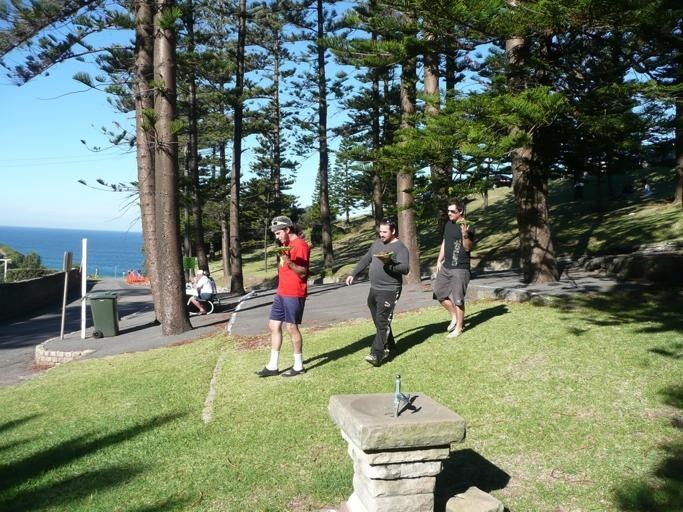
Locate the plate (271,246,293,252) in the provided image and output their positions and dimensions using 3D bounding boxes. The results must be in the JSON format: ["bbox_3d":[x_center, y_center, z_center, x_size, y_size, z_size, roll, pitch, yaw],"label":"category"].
[{"bbox_3d":[-0.955,-0.114,9.186,0.272,0.087,0.441,-5,3,-6],"label":"plate"}]

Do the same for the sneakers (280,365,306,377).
[{"bbox_3d":[-0.808,1.918,9.436,0.319,0.116,0.167,1,-5,-4],"label":"sneakers"}]

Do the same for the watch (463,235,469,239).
[{"bbox_3d":[2.146,-0.335,9.900,0.054,0.057,0.018,-4,-3,28],"label":"watch"}]

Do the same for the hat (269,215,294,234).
[{"bbox_3d":[-1.035,-0.537,9.435,0.318,0.168,0.248,1,8,11],"label":"hat"}]

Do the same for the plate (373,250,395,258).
[{"bbox_3d":[0.673,-0.017,9.102,0.305,0.097,0.243,-5,3,1],"label":"plate"}]

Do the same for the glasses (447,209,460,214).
[{"bbox_3d":[1.963,-0.785,10.037,0.190,0.128,0.119,-4,3,19],"label":"glasses"}]

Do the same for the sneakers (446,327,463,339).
[{"bbox_3d":[2.008,1.395,10.282,0.352,0.139,0.117,-2,12,-40],"label":"sneakers"}]

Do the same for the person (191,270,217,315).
[{"bbox_3d":[-4.309,1.102,17.465,0.746,0.926,0.654,-6,3,-11],"label":"person"}]

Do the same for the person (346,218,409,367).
[{"bbox_3d":[0.657,0.608,9.468,0.932,2.387,0.893,-5,3,1],"label":"person"}]

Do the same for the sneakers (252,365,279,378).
[{"bbox_3d":[-1.261,1.958,9.529,0.339,0.146,0.156,1,-6,4],"label":"sneakers"}]

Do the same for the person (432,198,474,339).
[{"bbox_3d":[2.016,0.232,10.296,0.787,2.446,0.596,-3,4,25],"label":"person"}]

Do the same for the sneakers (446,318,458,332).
[{"bbox_3d":[2.016,1.300,10.592,0.278,0.119,0.102,-36,11,-24],"label":"sneakers"}]
